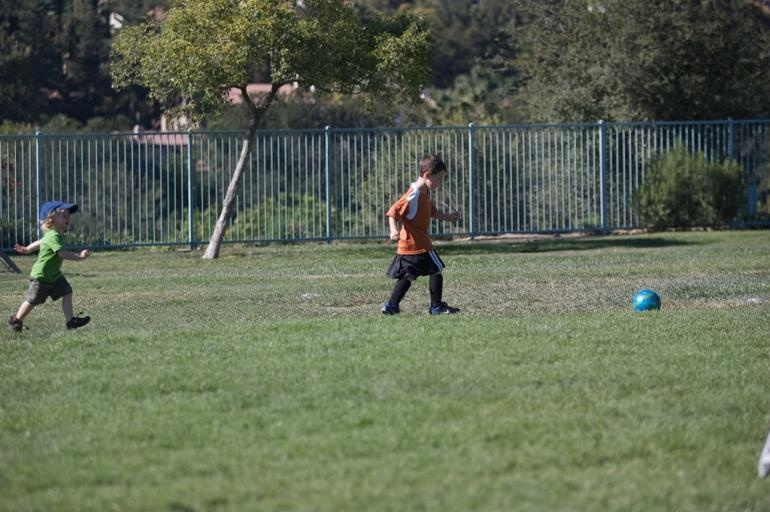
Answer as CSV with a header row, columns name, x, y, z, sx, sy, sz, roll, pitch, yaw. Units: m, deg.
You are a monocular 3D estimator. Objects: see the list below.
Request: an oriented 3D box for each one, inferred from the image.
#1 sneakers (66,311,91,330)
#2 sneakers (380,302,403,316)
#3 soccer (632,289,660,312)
name,x,y,z,sx,sy,sz,roll,pitch,yaw
sneakers,-5.989,1.219,31.841,0.541,0.268,0.238,-18,30,11
sneakers,0.152,0.986,32.065,0.161,0.229,0.454,3,2,33
soccer,5.212,0.786,32.139,0.410,0.509,0.436,-11,42,5
